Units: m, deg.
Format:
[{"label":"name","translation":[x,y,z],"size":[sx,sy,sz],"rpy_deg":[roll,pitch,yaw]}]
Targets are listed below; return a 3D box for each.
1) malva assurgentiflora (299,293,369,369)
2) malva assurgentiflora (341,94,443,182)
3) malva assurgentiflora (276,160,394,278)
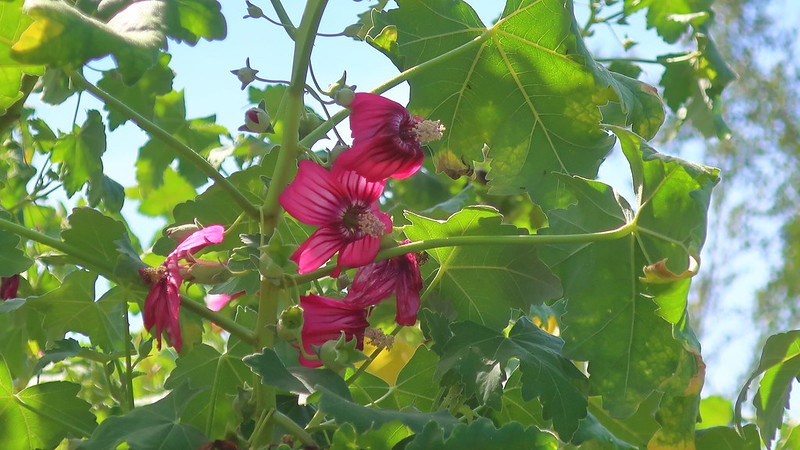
[{"label":"malva assurgentiflora","translation":[-0.210,0.335,3.268],"size":[0.215,0.214,0.186],"rpy_deg":[7,-45,-3]},{"label":"malva assurgentiflora","translation":[-0.037,-0.259,3.281],"size":[0.308,0.299,0.121],"rpy_deg":[8,4,-37]},{"label":"malva assurgentiflora","translation":[-0.141,0.013,3.235],"size":[0.424,0.366,0.133],"rpy_deg":[-4,-58,-44]}]
